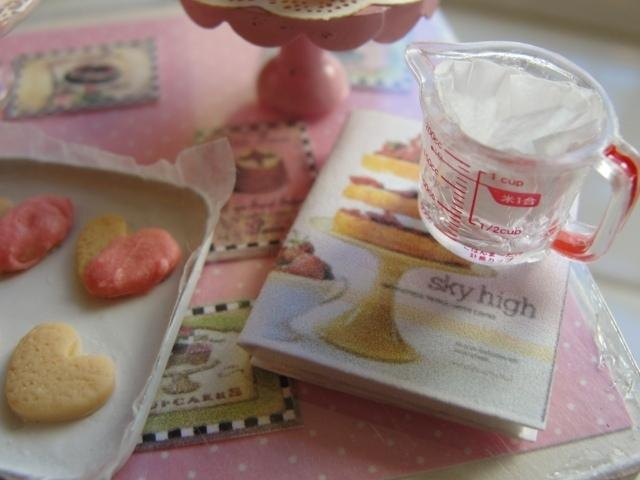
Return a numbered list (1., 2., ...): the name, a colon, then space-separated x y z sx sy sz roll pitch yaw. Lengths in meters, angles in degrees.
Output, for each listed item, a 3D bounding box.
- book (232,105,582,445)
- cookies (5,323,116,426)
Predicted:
1. book: 0.101 0.033 0.681 0.292 0.071 0.310 17 54 15
2. cookies: -0.242 0.126 0.584 0.098 0.023 0.084 31 59 19
